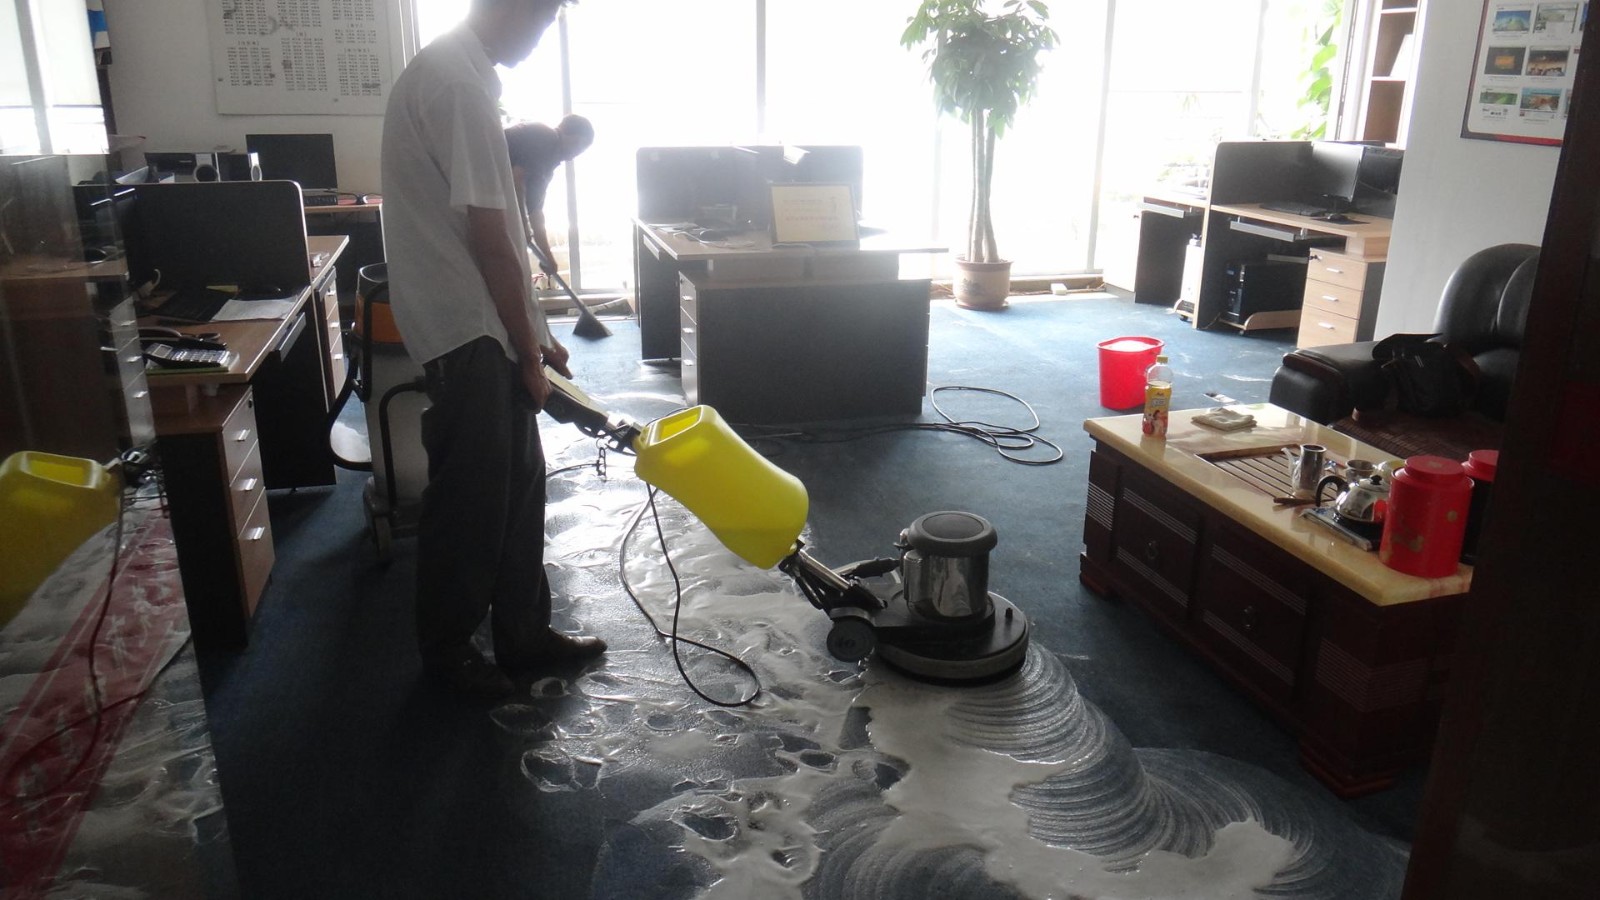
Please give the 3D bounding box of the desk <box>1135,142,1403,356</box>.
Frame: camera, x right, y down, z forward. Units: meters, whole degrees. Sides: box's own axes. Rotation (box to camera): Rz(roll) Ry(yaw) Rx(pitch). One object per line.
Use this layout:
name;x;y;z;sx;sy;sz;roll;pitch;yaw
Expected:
desk;3.210;-1.562;7.030;0.920;1.155;1.763;-22;33;-31

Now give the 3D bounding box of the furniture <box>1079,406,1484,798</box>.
furniture;1.734;0.406;3.426;0.954;0.713;1.560;-9;22;-15

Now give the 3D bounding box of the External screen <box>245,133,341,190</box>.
External screen;-3.471;-1.974;6.727;0.646;0.378;0.047;1;6;4

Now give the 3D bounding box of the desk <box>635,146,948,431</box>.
desk;0.116;-0.678;6.266;1.540;1.354;2.101;-2;-9;4

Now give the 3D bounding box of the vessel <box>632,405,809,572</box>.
vessel;-0.205;0.088;2.669;0.567;0.314;0.146;27;-2;-14

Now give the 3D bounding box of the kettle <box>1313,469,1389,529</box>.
kettle;1.651;0.132;2.933;0.230;0.089;0.132;9;29;22

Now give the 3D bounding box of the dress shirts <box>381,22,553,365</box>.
dress shirts;-1.020;-0.726;2.852;0.384;0.950;0.226;-8;20;-18

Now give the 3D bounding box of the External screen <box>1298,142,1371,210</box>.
External screen;3.657;-1.888;6.728;0.175;0.449;0.483;-2;19;-11

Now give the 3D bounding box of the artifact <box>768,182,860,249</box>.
artifact;0.071;-1.249;5.211;0.444;0.308;0.216;-2;18;-2

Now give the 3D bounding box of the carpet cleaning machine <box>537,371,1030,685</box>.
carpet cleaning machine;-0.116;0.209;3.283;1.901;0.835;0.555;7;17;10

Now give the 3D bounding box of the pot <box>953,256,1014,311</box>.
pot;1.381;-1.285;7.575;0.476;0.292;0.433;0;14;0
